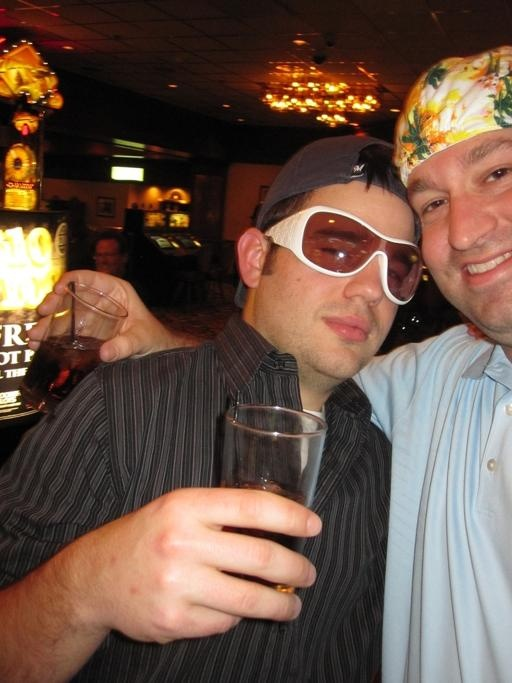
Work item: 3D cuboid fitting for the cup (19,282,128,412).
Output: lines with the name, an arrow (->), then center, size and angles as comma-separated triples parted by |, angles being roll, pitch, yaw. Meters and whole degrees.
cup -> -0.418, 0.002, 1.229 | 0.169, 0.251, 0.297 | 6, 11, 4

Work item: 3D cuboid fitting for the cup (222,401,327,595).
cup -> 0.010, 0.227, 0.807 | 0.156, 0.229, 0.205 | 7, 12, 6

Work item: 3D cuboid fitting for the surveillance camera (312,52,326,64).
surveillance camera -> 0.916, -4.103, 7.954 | 0.166, 0.112, 0.164 | -1, -11, 7

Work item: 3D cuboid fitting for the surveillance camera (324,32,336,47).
surveillance camera -> 0.950, -3.830, 7.019 | 0.133, 0.123, 0.132 | 1, -3, 7
